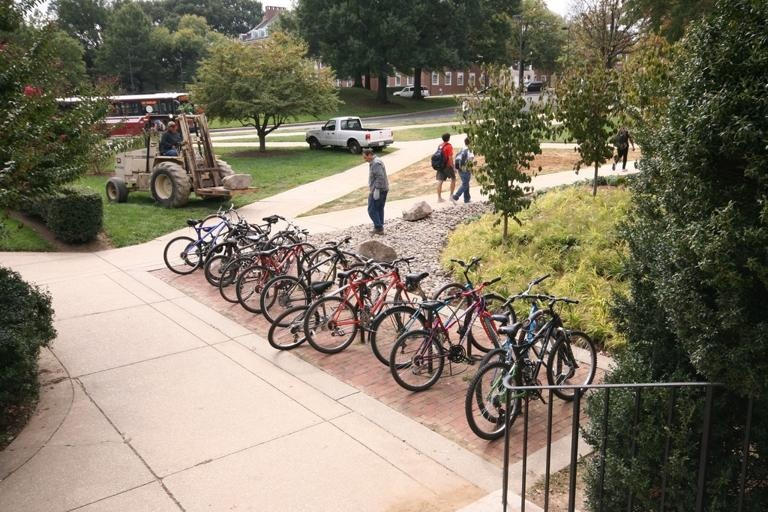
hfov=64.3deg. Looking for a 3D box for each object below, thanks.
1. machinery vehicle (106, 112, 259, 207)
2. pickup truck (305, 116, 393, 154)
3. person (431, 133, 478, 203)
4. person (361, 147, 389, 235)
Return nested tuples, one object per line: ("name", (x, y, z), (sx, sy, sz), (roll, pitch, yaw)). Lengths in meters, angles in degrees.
("machinery vehicle", (-6.277, -2.910, 18.574), (4.608, 2.541, 2.526), (7, 15, 24))
("pickup truck", (-1.804, -5.975, 30.426), (1.472, 1.685, 4.467), (-13, 17, -43))
("person", (2.099, -2.577, 17.799), (1.222, 2.407, 0.743), (-2, 2, -43))
("person", (-0.233, -1.531, 14.495), (0.656, 1.956, 0.791), (1, 7, 14))
